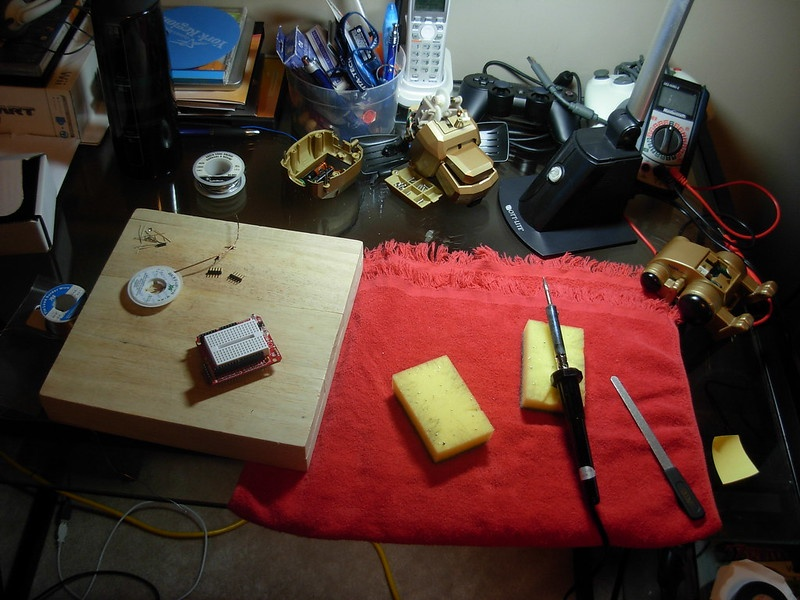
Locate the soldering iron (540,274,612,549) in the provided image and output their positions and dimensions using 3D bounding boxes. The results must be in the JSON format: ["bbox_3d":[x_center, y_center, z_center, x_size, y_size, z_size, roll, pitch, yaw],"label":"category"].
[{"bbox_3d":[0.267,0.157,0.974,0.057,0.119,0.446,-1,52,-7],"label":"soldering iron"}]

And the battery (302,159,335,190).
[{"bbox_3d":[-0.152,-0.240,1.157,0.057,0.024,0.049,-35,31,-3],"label":"battery"}]

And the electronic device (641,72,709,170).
[{"bbox_3d":[0.540,-0.351,1.203,0.108,0.064,0.202,19,83,7],"label":"electronic device"}]

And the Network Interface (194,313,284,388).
[{"bbox_3d":[-0.244,0.072,0.895,0.106,0.033,0.090,-21,72,-17],"label":"Network Interface"}]
